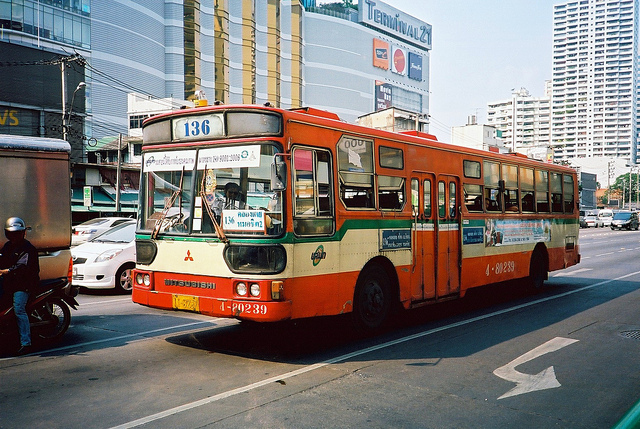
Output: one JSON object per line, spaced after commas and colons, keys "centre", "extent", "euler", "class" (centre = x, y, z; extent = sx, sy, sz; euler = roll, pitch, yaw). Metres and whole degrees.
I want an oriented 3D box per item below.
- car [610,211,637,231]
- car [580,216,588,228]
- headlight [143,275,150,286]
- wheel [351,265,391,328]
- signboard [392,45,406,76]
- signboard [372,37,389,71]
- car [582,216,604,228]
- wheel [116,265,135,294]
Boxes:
{"centre": [30.064, 0.518, 54.300], "extent": [2.930, 1.489, 1.460], "euler": [7, -8, -44], "class": "car"}
{"centre": [29.437, 0.828, 61.659], "extent": [1.006, 0.888, 1.709], "euler": [-1, 9, 43], "class": "car"}
{"centre": [-3.326, 1.244, 10.549], "extent": [0.125, 0.192, 0.046], "euler": [3, -5, 19], "class": "headlight"}
{"centre": [0.987, 1.629, 11.098], "extent": [0.390, 1.266, 1.092], "euler": [-6, 6, 43], "class": "wheel"}
{"centre": [15.950, -31.732, 112.312], "extent": [0.632, 6.858, 6.560], "euler": [-4, -5, 37], "class": "signboard"}
{"centre": [11.848, -31.868, 108.185], "extent": [1.100, 5.602, 4.623], "euler": [6, 10, 37], "class": "signboard"}
{"centre": [31.022, 0.727, 62.402], "extent": [1.269, 1.131, 2.371], "euler": [0, 8, 33], "class": "car"}
{"centre": [-5.184, 1.748, 15.058], "extent": [0.640, 0.696, 0.220], "euler": [-9, -3, 13], "class": "wheel"}
